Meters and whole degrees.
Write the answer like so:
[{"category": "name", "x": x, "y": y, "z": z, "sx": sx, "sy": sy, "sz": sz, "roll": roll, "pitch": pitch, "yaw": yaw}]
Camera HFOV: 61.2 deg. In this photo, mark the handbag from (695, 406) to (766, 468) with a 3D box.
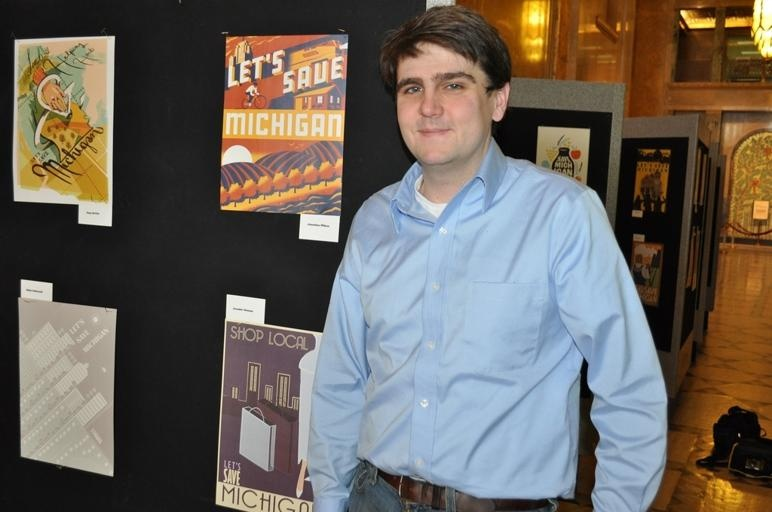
[{"category": "handbag", "x": 2.392, "y": 1.266, "z": 4.514, "sx": 0.235, "sy": 0.334, "sz": 0.715, "roll": 1, "pitch": 6, "yaw": 34}]
